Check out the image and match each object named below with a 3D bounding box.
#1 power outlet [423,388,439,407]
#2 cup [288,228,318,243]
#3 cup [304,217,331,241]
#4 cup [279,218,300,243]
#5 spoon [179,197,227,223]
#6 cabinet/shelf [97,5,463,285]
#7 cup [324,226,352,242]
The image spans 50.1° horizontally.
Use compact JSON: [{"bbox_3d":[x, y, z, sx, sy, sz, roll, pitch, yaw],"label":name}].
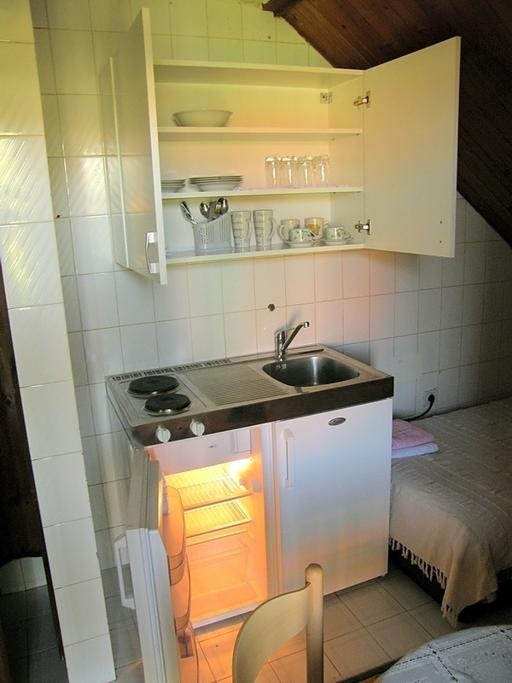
[{"bbox_3d":[0.925,0.297,2.956,0.023,0.086,0.098,14,8,37],"label":"power outlet"},{"bbox_3d":[0.194,-0.420,2.177,0.097,0.039,0.055,-5,8,-30],"label":"cup"},{"bbox_3d":[0.251,-0.474,2.292,0.110,0.077,0.080,-7,8,-42],"label":"cup"},{"bbox_3d":[0.124,-0.450,2.227,0.063,0.105,0.109,11,20,36],"label":"cup"},{"bbox_3d":[-0.194,-0.491,2.066,0.165,0.094,0.192,-5,8,-7],"label":"spoon"},{"bbox_3d":[0.024,-0.649,1.879,0.963,0.821,0.850,-8,9,-23],"label":"cabinet/shelf"},{"bbox_3d":[0.342,-0.444,2.255,0.059,0.043,0.097,-9,12,-30],"label":"cup"}]
